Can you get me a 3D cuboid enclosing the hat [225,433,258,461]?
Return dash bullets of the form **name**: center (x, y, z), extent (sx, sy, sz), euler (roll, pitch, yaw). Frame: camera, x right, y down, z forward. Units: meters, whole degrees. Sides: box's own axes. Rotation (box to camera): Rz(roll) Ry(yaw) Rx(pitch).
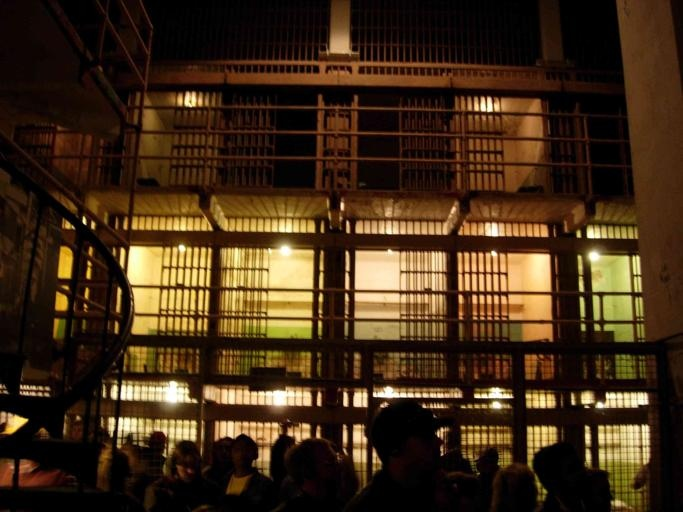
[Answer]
- **hat**: center (-1.058, 2.086, 8.273), extent (0.247, 0.246, 0.362), euler (2, -21, -1)
